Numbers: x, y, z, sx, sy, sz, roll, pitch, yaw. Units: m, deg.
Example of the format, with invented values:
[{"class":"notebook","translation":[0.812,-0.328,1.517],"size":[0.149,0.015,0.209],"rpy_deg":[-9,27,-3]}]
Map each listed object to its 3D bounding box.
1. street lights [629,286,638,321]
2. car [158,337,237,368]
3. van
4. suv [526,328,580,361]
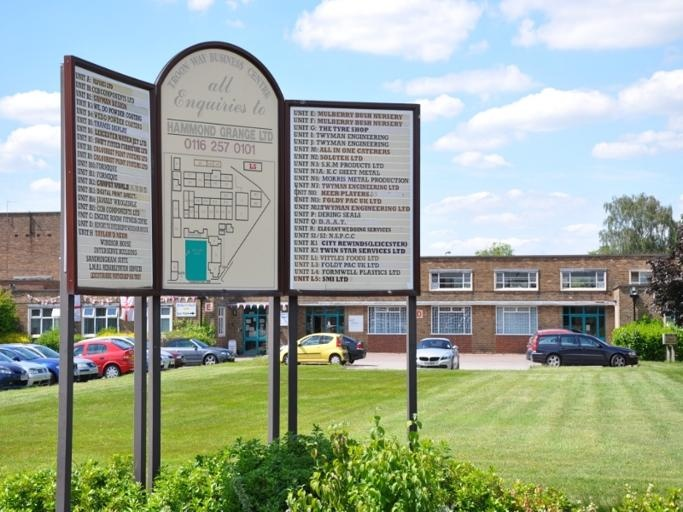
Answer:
[{"class":"street lights","translation":[15.377,2.411,50.040],"size":[0.475,1.493,0.694],"rpy_deg":[-2,-1,17]},{"class":"car","translation":[-6.057,3.918,39.608],"size":[2.547,0.991,1.276],"rpy_deg":[-1,-2,0]},{"class":"van","translation":[9.627,3.758,38.189],"size":[3.487,1.580,1.573],"rpy_deg":[-1,-3,9]},{"class":"suv","translation":[8.665,3.421,39.629],"size":[2.064,1.909,2.197],"rpy_deg":[-2,-2,-1]}]
